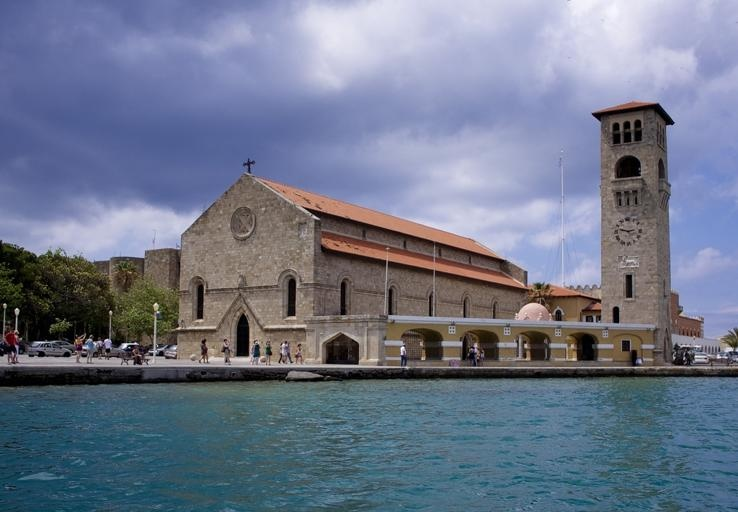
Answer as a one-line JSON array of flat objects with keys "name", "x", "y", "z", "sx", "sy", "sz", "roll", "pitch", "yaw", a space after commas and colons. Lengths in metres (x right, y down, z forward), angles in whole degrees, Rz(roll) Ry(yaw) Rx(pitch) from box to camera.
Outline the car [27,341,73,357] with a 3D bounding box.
[{"name": "car", "x": -26.234, "y": 7.734, "z": 63.299, "sx": 2.838, "sy": 1.166, "sz": 1.480, "roll": 0, "pitch": -2, "yaw": -27}]

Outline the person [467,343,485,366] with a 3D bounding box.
[{"name": "person", "x": 7.938, "y": 7.333, "z": 56.610, "sx": 1.469, "sy": 2.257, "sz": 0.861, "roll": 1, "pitch": -4, "yaw": -24}]

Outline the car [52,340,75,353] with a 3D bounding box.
[{"name": "car", "x": -25.583, "y": 7.539, "z": 64.797, "sx": 1.987, "sy": 0.622, "sz": 0.889, "roll": 19, "pitch": -19, "yaw": -32}]

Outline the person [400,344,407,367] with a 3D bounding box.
[{"name": "person", "x": 2.296, "y": 6.640, "z": 51.069, "sx": 0.384, "sy": 1.381, "sz": 0.987, "roll": 2, "pitch": 0, "yaw": -1}]
